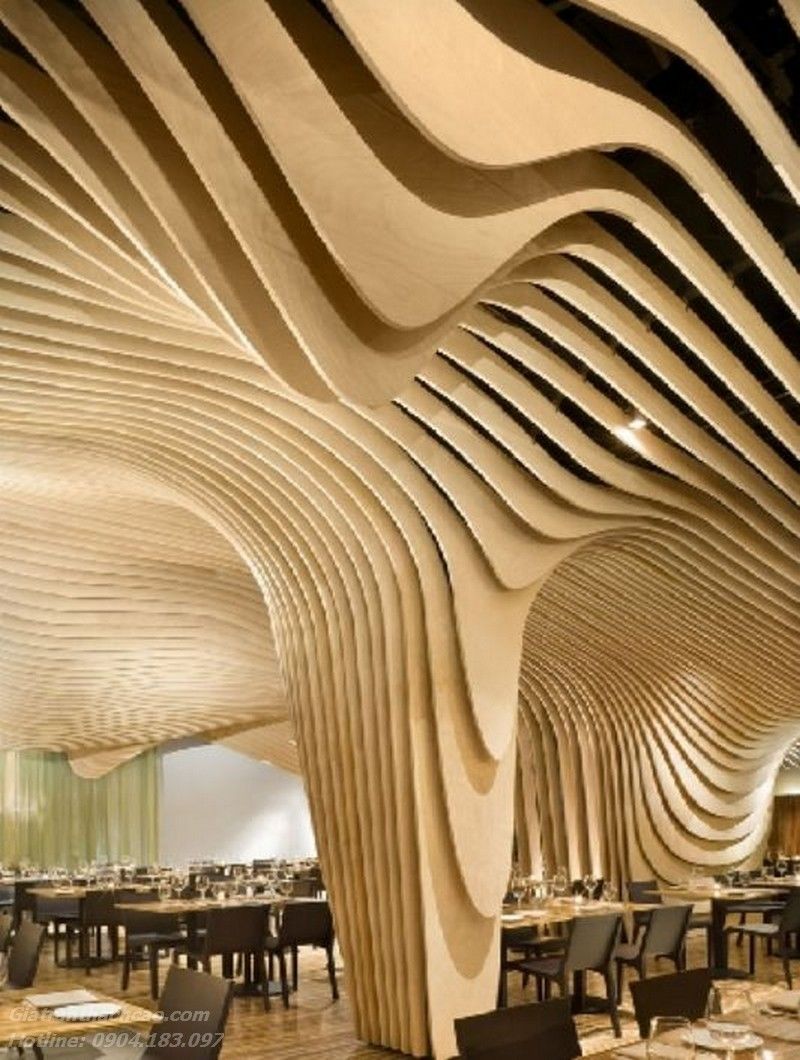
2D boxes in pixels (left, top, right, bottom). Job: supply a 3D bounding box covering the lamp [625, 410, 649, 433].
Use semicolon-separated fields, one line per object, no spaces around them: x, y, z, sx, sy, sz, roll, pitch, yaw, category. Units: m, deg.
1.549;-0.694;6.358;0.116;0.180;0.169;-2;0;-4;lamp
